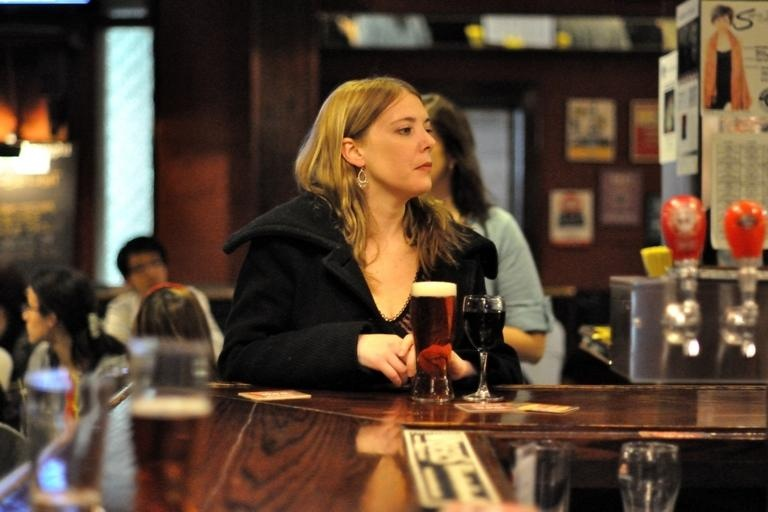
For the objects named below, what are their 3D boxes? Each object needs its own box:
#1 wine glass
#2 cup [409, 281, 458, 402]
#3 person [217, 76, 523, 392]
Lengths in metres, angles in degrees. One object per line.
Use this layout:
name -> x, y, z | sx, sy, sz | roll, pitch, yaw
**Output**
wine glass -> 0.265, 0.248, 2.261 | 0.114, 0.275, 0.177 | -2, 0, -2
cup -> 0.131, 0.228, 2.178 | 0.123, 0.309, 0.107 | -2, 0, 1
person -> -0.008, -0.069, 2.798 | 1.174, 1.009, 0.768 | 2, -2, -37
